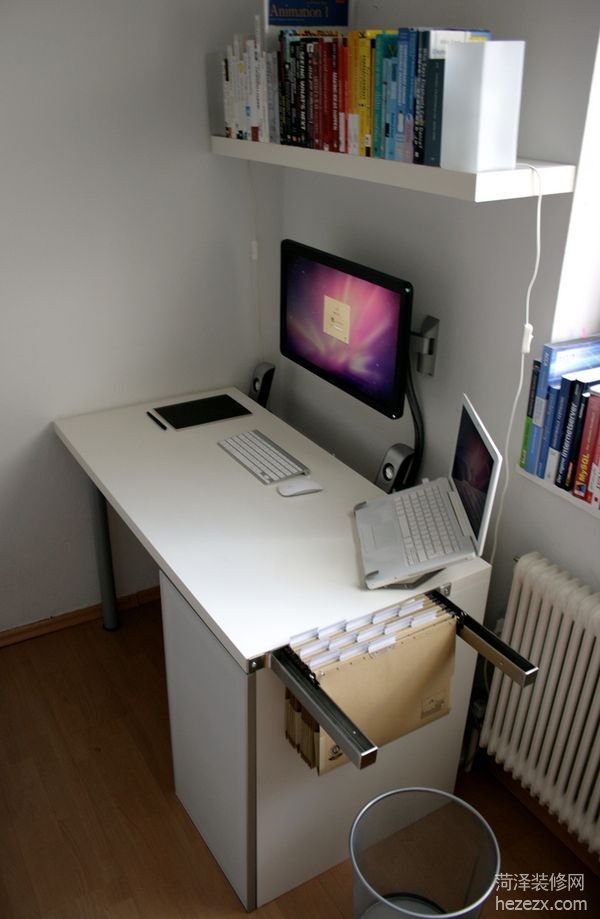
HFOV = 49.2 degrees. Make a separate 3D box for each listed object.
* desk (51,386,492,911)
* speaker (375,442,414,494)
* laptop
[{"bbox_3d":[-0.166,0.258,1.917,0.661,0.920,1.405,-14,37,-24],"label":"desk"},{"bbox_3d":[0.273,0.027,1.857,0.066,0.142,0.071,-9,30,-29],"label":"speaker"},{"bbox_3d":[0.260,0.041,1.357,0.208,0.286,0.293,-1,28,-2],"label":"laptop"}]
